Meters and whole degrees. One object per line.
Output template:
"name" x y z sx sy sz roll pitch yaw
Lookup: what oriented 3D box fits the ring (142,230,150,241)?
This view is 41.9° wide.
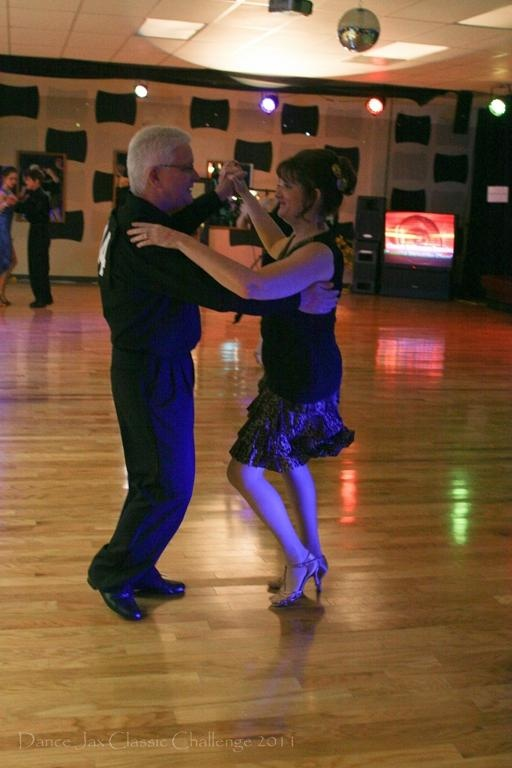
"ring" -0.238 -0.319 1.446 0.018 0.021 0.007 -7 -4 19

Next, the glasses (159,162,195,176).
"glasses" -0.174 -0.493 1.529 0.093 0.024 0.022 -4 13 -39

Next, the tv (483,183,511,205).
"tv" 3.729 -2.925 10.291 0.355 0.285 0.424 7 10 15

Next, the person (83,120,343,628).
"person" -0.198 0.026 1.627 0.279 1.241 0.443 -5 14 -42

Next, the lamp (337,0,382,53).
"lamp" 0.795 -2.692 5.051 0.307 0.292 0.286 -3 13 -39

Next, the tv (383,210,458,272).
"tv" 2.495 -2.169 10.169 1.083 0.682 0.142 3 0 8
